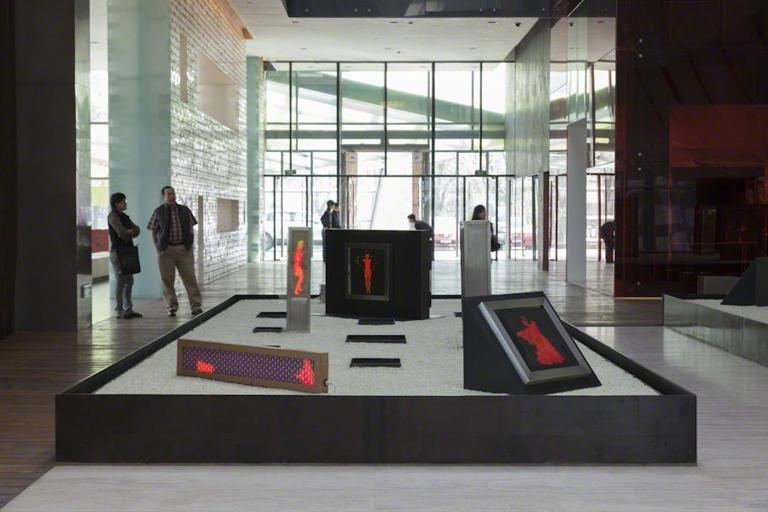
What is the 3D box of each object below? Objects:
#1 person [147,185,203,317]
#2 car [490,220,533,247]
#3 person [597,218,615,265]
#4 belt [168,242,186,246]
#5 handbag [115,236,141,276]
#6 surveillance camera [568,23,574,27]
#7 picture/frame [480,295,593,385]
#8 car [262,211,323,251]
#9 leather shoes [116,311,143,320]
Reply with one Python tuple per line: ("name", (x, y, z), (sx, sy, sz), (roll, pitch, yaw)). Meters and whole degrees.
("person", (-3.345, -0.066, 10.691), (0.780, 2.058, 0.545), (-2, 7, -16))
("car", (4.309, -1.000, 23.335), (1.359, 1.275, 2.409), (1, -3, -1))
("person", (5.415, -0.380, 16.265), (0.490, 0.472, 1.156), (-14, -28, 11))
("belt", (-3.281, -0.196, 10.529), (0.215, 0.060, 0.043), (-6, 10, -35))
("handbag", (-3.982, 0.047, 10.345), (0.322, 0.513, 0.215), (-4, 9, -33))
("surveillance camera", (4.368, -5.391, 15.535), (0.102, 0.079, 0.106), (0, 5, 0))
("picture/frame", (1.387, 0.806, 6.177), (0.895, 1.003, 0.098), (-6, -33, -32))
("car", (-2.881, -0.816, 22.617), (2.631, 1.342, 1.620), (-2, 2, -4))
("leather shoes", (-4.034, 0.934, 10.594), (0.389, 0.173, 0.146), (0, 1, -7))
